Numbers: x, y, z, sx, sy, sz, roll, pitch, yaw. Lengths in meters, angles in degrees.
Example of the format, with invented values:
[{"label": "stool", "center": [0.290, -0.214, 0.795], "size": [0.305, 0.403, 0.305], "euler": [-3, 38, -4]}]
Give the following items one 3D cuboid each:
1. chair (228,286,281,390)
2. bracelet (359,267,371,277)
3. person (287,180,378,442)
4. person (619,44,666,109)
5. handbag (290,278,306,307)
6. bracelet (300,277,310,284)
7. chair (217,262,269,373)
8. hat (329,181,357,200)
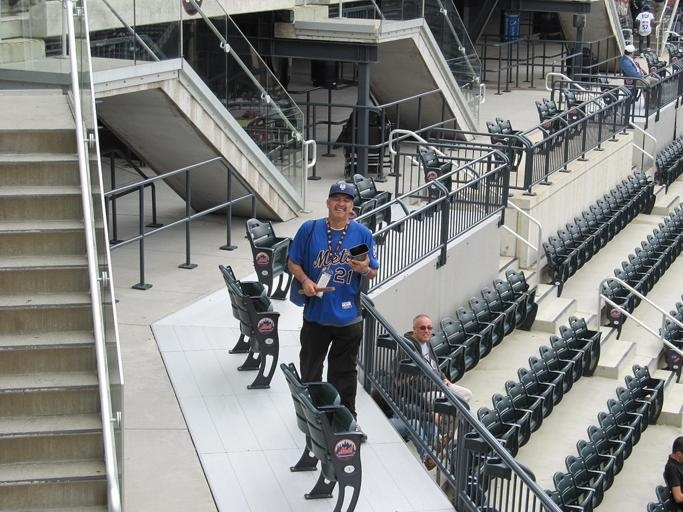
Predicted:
[{"label": "chair", "center": [-0.912, 0.891, 9.303], "size": [0.382, 0.865, 0.793], "euler": [-5, 18, -11]}, {"label": "bracelet", "center": [0.207, 0.139, 7.848], "size": [0.068, 0.035, 0.088], "euler": [-52, 12, -18]}, {"label": "person", "center": [-0.069, 0.411, 8.055], "size": [0.767, 2.118, 0.330], "euler": [-9, 16, -5]}, {"label": "person", "center": [8.035, -4.869, 24.268], "size": [0.858, 1.576, 0.597], "euler": [5, 27, 25]}, {"label": "handbag", "center": [-0.386, 0.325, 8.052], "size": [0.166, 0.053, 0.405], "euler": [30, -18, 9]}, {"label": "bracelet", "center": [-0.321, 0.217, 7.911], "size": [0.063, 0.053, 0.116], "euler": [-13, 17, -17]}, {"label": "chair", "center": [-1.072, 0.719, 9.713], "size": [0.344, 0.641, 0.981], "euler": [-6, 17, -10]}, {"label": "hat", "center": [0.003, -0.534, 7.959], "size": [0.240, 0.139, 0.303], "euler": [6, 20, -4]}]
